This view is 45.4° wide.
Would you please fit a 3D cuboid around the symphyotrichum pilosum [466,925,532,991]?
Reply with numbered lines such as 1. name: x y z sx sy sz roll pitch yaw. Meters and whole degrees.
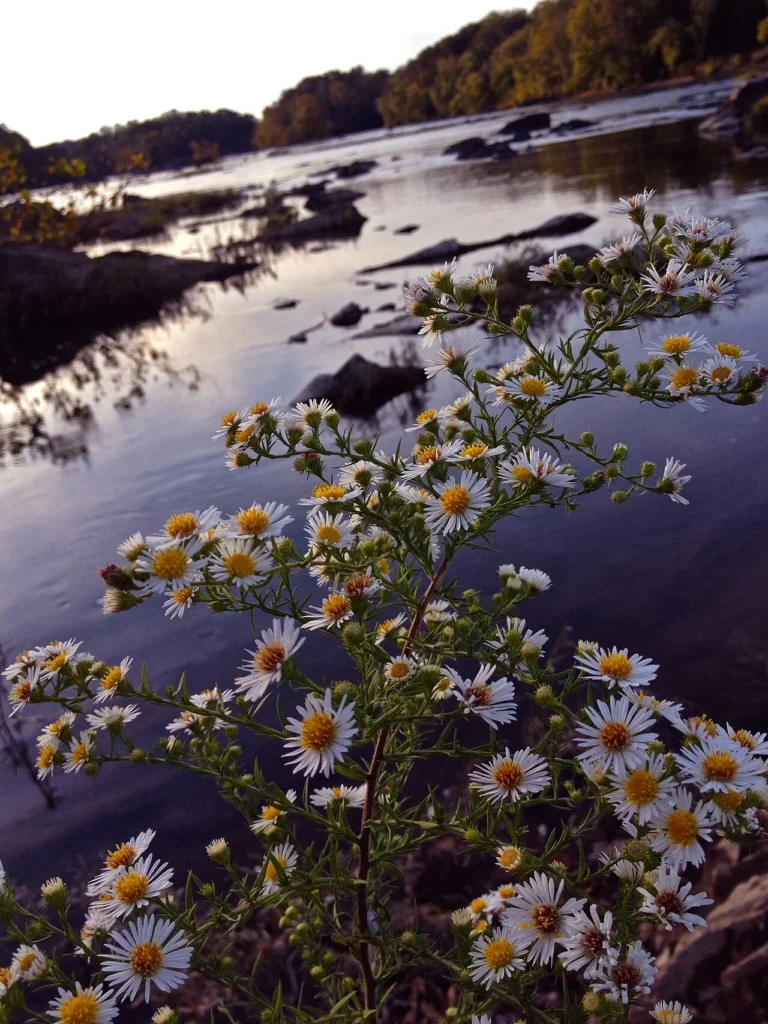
1. symphyotrichum pilosum: 0.279 1.080 2.256 0.145 0.055 0.145 -32 39 19
